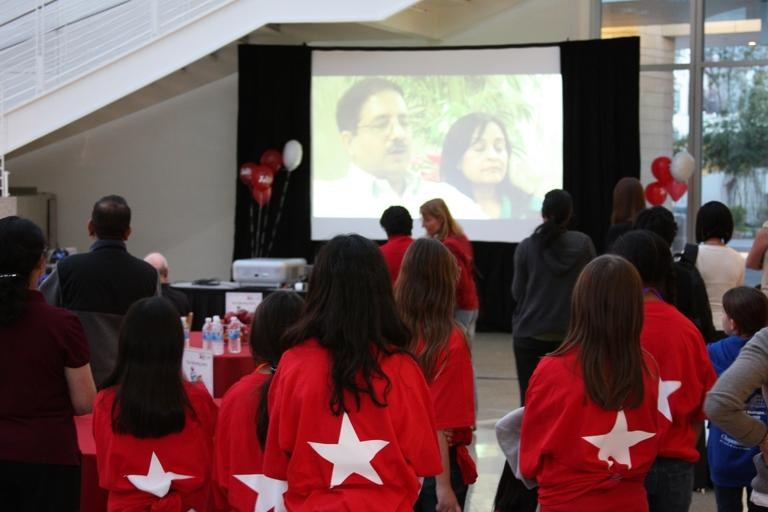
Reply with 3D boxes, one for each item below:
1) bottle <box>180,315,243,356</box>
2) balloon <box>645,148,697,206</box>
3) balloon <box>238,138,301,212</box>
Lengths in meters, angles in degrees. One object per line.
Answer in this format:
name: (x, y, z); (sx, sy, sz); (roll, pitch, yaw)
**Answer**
bottle: (-1.164, 0.587, 5.947); (0.278, 0.257, 0.299); (1, 0, -11)
balloon: (3.396, -0.942, 9.888); (0.512, 0.656, 0.891); (1, 3, 18)
balloon: (-1.404, -1.090, 10.201); (0.545, 1.003, 0.333); (34, 1, 23)
